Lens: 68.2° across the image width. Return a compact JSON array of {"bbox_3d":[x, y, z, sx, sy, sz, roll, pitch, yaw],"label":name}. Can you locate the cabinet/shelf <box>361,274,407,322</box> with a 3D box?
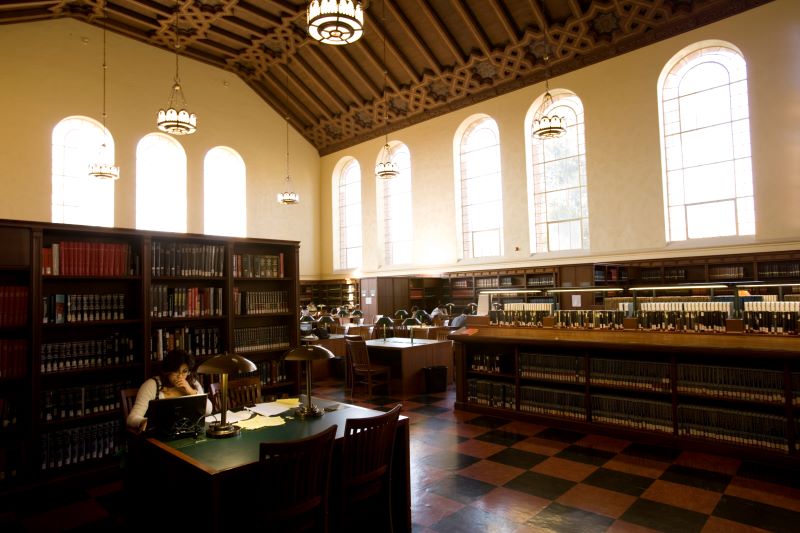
[{"bbox_3d":[-0.405,1.008,18.162,1.261,2.520,1.293,-2,-7,9],"label":"cabinet/shelf"}]

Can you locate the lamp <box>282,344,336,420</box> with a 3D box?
[{"bbox_3d":[-1.164,1.440,7.446,0.610,0.930,0.612,4,-12,-36],"label":"lamp"}]

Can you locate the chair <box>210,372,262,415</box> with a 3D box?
[{"bbox_3d":[-2.164,1.732,8.157,0.467,0.808,0.500,5,-9,-38],"label":"chair"}]

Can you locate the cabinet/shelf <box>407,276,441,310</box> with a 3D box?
[{"bbox_3d":[0.686,0.799,17.661,0.914,1.039,0.297,2,-5,-20],"label":"cabinet/shelf"}]

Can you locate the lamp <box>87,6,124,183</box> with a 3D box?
[{"bbox_3d":[-7.467,-4.145,14.931,0.830,0.837,4.121,-18,-21,-36],"label":"lamp"}]
